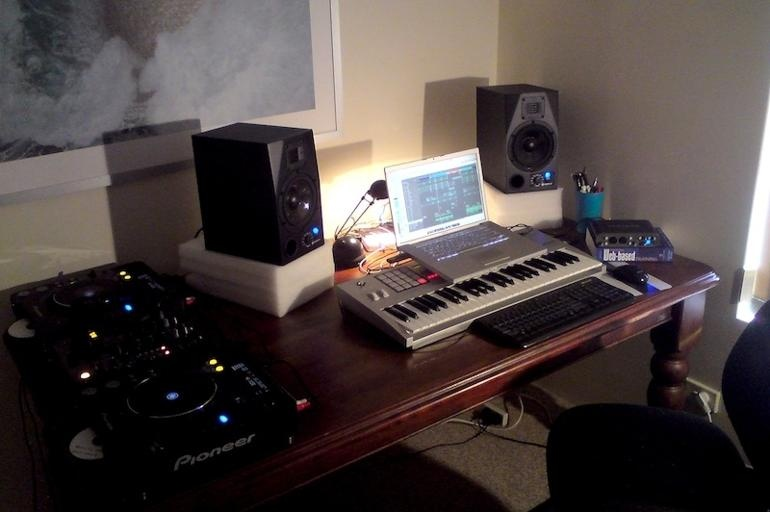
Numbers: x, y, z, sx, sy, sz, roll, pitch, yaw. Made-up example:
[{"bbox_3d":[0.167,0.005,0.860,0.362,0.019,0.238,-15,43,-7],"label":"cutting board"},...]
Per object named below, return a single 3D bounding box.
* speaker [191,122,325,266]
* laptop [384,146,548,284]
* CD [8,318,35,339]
[{"bbox_3d":[-0.390,-0.273,2.089,0.546,0.519,0.333,15,27,20],"label":"speaker"},{"bbox_3d":[0.235,-0.157,2.182,0.555,0.360,0.523,-19,38,-30],"label":"laptop"},{"bbox_3d":[-1.091,0.219,1.729,0.062,0.015,0.062,-12,40,-24],"label":"CD"}]
